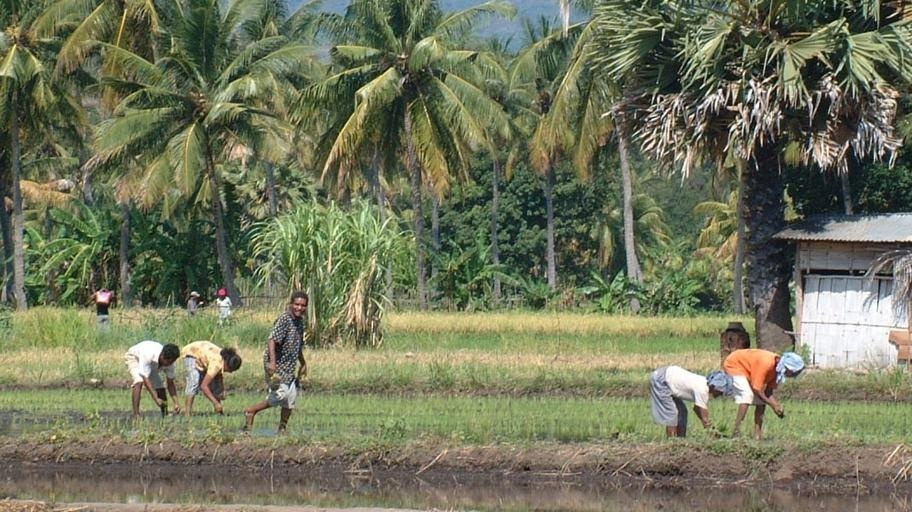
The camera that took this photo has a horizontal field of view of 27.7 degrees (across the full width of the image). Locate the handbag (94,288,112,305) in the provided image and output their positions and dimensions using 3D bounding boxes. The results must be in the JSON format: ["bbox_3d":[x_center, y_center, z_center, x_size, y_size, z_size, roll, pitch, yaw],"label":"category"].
[{"bbox_3d":[-15.172,1.802,79.324,0.642,0.663,0.377,6,15,-7],"label":"handbag"}]
